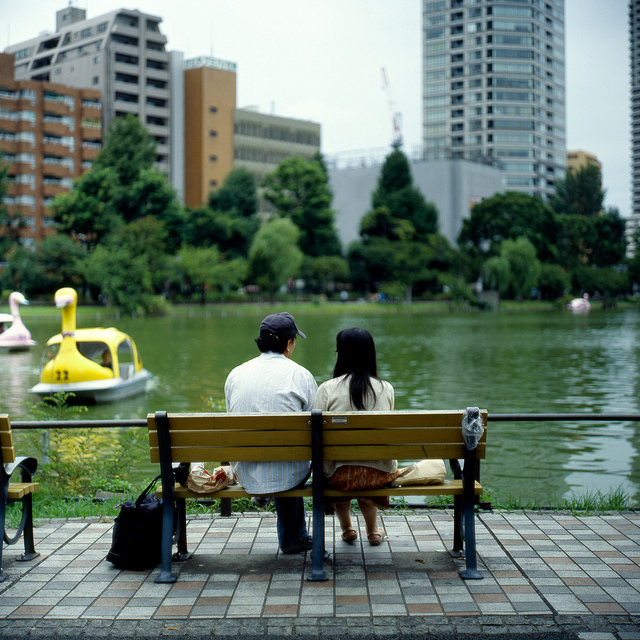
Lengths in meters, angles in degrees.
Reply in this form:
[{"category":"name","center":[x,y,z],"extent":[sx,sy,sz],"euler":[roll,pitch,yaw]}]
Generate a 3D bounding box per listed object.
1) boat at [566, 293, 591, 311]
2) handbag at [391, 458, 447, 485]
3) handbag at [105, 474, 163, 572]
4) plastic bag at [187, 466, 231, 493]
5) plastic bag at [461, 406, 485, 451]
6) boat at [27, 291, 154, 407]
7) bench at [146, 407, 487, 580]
[{"category":"boat","center":[17.036,-1.073,79.612],"extent":[1.069,1.025,1.122],"euler":[7,5,-34]},{"category":"handbag","center":[0.734,1.101,8.812],"extent":[0.273,0.106,0.256],"euler":[-7,7,3]},{"category":"handbag","center":[-1.316,1.456,8.860],"extent":[0.369,0.715,0.528],"euler":[6,-10,-17]},{"category":"plastic bag","center":[-0.807,1.139,8.691],"extent":[0.196,0.103,0.183],"euler":[13,4,-11]},{"category":"plastic bag","center":[1.056,0.757,8.458],"extent":[0.153,0.320,0.164],"euler":[3,1,-2]},{"category":"boat","center":[-4.377,0.498,23.552],"extent":[1.683,2.340,3.264],"euler":[-5,0,15]},{"category":"bench","center":[-0.002,1.175,8.976],"extent":[2.325,1.200,1.252],"euler":[0,2,0]}]
